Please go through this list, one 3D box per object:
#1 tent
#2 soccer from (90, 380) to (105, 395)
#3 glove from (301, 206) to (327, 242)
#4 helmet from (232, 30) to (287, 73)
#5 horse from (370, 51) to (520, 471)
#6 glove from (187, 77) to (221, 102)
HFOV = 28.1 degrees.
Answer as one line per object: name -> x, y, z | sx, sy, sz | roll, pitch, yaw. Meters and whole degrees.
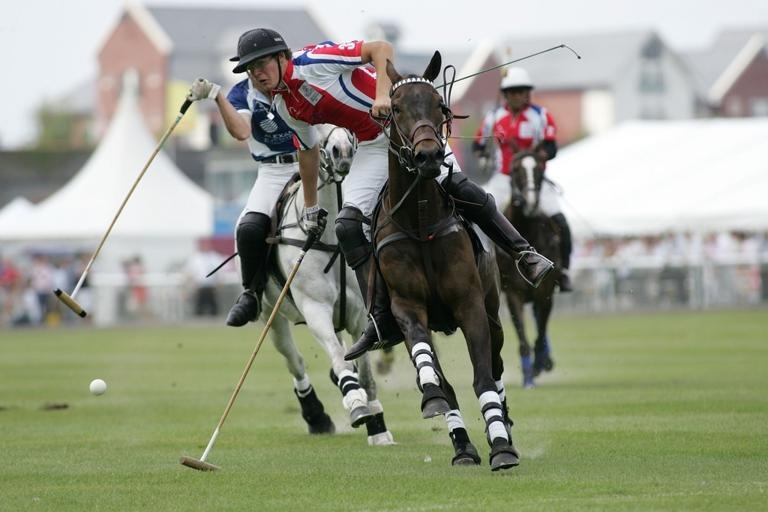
tent -> -7.535, -1.140, 43.448 | 6.983, 5.235, 6.707 | 0, 1, -11
soccer -> -4.255, 1.941, 22.704 | 0.199, 0.210, 0.354 | -1, -2, -4
glove -> -1.025, -0.482, 22.565 | 0.497, 0.459, 0.345 | 2, -3, 0
helmet -> -1.808, -2.946, 21.839 | 0.688, 0.343, 0.546 | -13, -7, -45
horse -> 0.790, 0.073, 21.160 | 1.738, 5.769, 1.043 | -1, -3, -13
glove -> -2.627, -2.423, 22.205 | 0.539, 0.361, 0.367 | -4, -3, 43
